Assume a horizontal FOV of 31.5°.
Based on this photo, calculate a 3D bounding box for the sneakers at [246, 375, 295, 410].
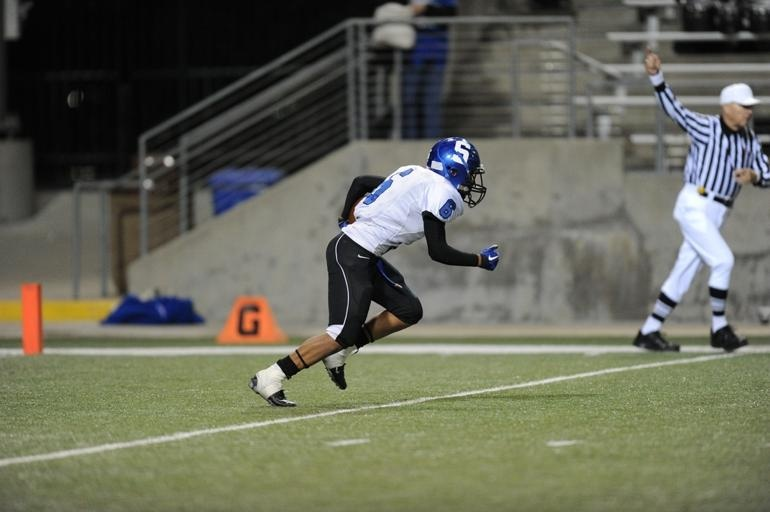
[{"bbox_3d":[-1.105,1.285,13.288,0.444,0.297,0.290,0,0,-5],"label":"sneakers"}]

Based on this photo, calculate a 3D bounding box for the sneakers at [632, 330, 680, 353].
[{"bbox_3d":[3.135,0.972,15.818,0.547,0.251,0.219,4,0,8],"label":"sneakers"}]

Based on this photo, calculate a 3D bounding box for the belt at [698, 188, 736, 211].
[{"bbox_3d":[3.756,-0.676,15.536,0.309,0.077,0.228,24,1,-8],"label":"belt"}]

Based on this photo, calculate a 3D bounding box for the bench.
[{"bbox_3d":[4.358,-2.382,19.801,3.380,2.187,0.822,-1,2,-7],"label":"bench"}]

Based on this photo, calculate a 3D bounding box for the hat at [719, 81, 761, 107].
[{"bbox_3d":[4.034,-1.825,15.522,0.391,0.217,0.291,3,12,24],"label":"hat"}]

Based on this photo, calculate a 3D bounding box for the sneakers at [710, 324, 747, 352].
[{"bbox_3d":[3.841,0.934,15.557,0.476,0.248,0.210,0,5,44],"label":"sneakers"}]
